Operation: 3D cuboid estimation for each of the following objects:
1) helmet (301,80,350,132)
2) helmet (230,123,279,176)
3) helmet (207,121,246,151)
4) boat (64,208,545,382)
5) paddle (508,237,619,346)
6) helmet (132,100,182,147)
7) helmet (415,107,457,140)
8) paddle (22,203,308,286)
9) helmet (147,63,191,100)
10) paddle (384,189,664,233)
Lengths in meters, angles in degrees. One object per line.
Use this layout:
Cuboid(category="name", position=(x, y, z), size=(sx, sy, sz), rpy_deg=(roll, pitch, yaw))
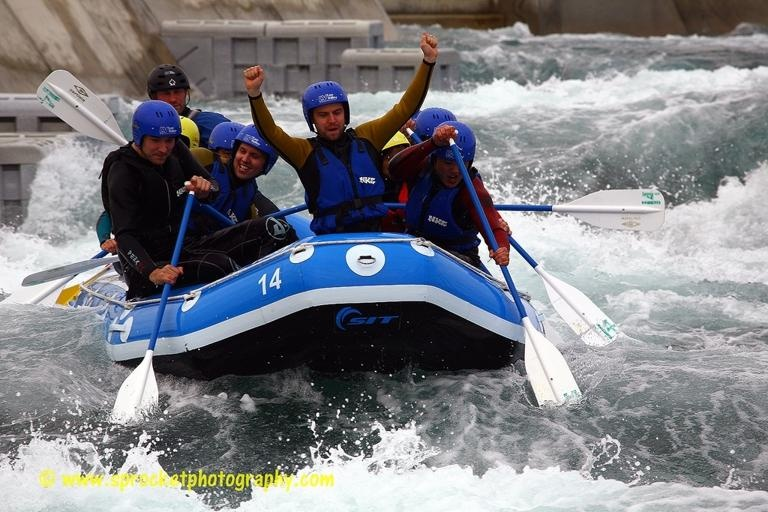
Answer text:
Cuboid(category="helmet", position=(-0.513, -1.297, 7.625), size=(0.389, 0.537, 0.365), rpy_deg=(-9, 43, -5))
Cuboid(category="helmet", position=(-1.189, -1.059, 8.263), size=(0.433, 0.432, 0.462), rpy_deg=(13, 17, -4))
Cuboid(category="helmet", position=(-1.565, -1.159, 8.543), size=(0.302, 0.316, 0.344), rpy_deg=(8, 35, -17))
Cuboid(category="boat", position=(-0.507, 0.726, 9.156), size=(3.035, 4.760, 0.944), rpy_deg=(-2, 81, -11))
Cuboid(category="paddle", position=(1.972, 0.424, 9.434), size=(0.359, 0.107, 1.466), rpy_deg=(-40, 73, -17))
Cuboid(category="helmet", position=(-2.029, -1.171, 7.732), size=(0.485, 0.433, 0.542), rpy_deg=(-1, 27, -9))
Cuboid(category="helmet", position=(0.519, -1.332, 8.446), size=(0.326, 0.382, 0.340), rpy_deg=(-2, 48, -16))
Cuboid(category="paddle", position=(-2.201, -0.016, 8.081), size=(3.832, 0.291, 0.212), rpy_deg=(-15, 64, 29))
Cuboid(category="helmet", position=(-2.278, -1.867, 9.116), size=(0.352, 0.413, 0.368), rpy_deg=(-7, 81, -17))
Cuboid(category="paddle", position=(1.555, -0.475, 9.184), size=(2.845, 0.507, 0.103), rpy_deg=(6, 72, 35))
